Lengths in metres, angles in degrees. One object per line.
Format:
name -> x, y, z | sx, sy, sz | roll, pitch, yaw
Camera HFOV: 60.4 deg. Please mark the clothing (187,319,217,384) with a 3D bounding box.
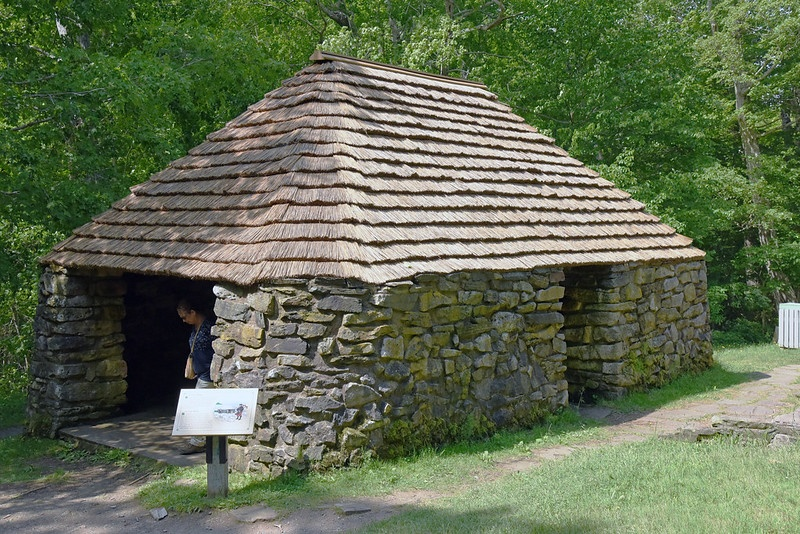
clothing -> -3.318, 1.436, 11.573 | 0.587, 1.122, 1.183 | 1, -8, -20
